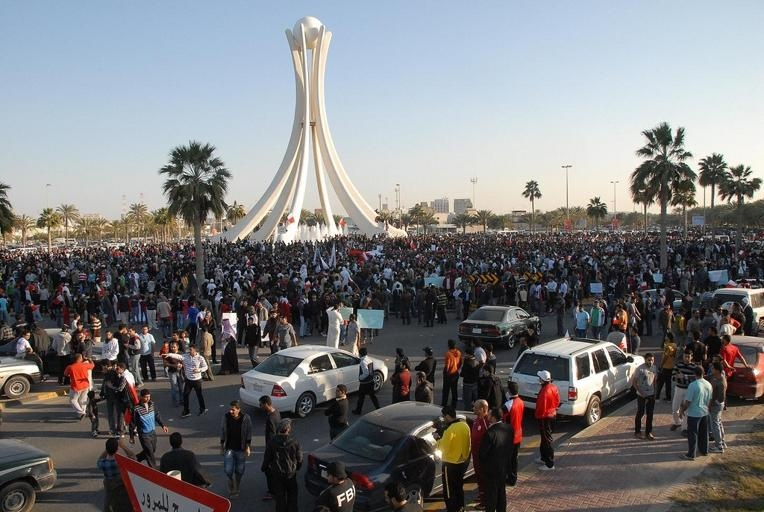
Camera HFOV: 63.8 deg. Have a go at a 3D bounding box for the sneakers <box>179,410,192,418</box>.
[{"bbox_3d":[-5.860,4.778,18.356,0.117,0.138,0.307,-2,-7,29],"label":"sneakers"}]

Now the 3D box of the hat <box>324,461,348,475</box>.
[{"bbox_3d":[-1.000,4.494,12.846,0.309,0.248,0.426,1,14,-29],"label":"hat"}]

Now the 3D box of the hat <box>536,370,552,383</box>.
[{"bbox_3d":[4.157,3.103,15.642,0.339,0.138,0.396,20,24,30],"label":"hat"}]
